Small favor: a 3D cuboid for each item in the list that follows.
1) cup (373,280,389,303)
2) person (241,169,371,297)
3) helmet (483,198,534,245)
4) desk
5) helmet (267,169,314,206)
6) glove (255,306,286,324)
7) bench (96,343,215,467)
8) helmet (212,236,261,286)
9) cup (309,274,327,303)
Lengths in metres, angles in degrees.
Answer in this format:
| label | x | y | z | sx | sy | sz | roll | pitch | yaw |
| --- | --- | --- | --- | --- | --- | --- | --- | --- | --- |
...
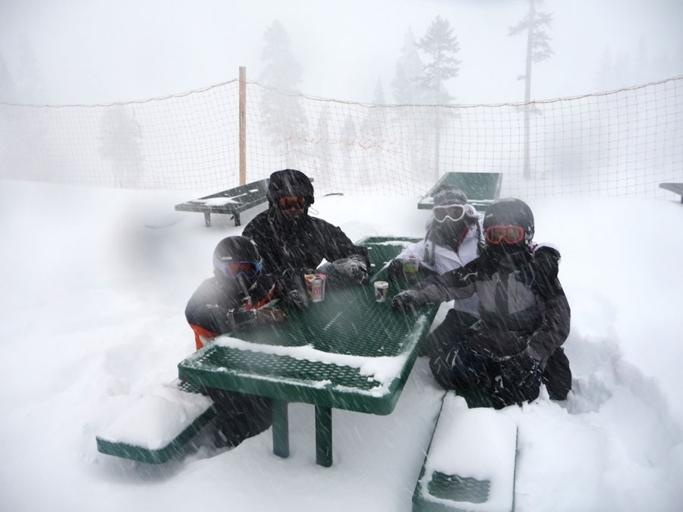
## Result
| label | x | y | z | sx | sy | sz | roll | pitch | yaw |
| --- | --- | --- | --- | --- | --- | --- | --- | --- | --- |
| cup | 0.359 | 0.311 | 4.785 | 0.145 | 0.171 | 0.154 | 3 | 19 | -1 |
| person | -0.336 | -0.259 | 5.307 | 1.345 | 1.290 | 1.240 | -6 | 5 | 11 |
| helmet | 1.498 | -0.249 | 4.840 | 0.446 | 0.557 | 0.571 | -4 | 6 | 27 |
| desk | -0.146 | 0.550 | 4.535 | 1.862 | 1.793 | 1.892 | 2 | 13 | 14 |
| helmet | -0.517 | -0.730 | 5.382 | 0.486 | 0.420 | 0.372 | -6 | 27 | -11 |
| glove | -0.573 | 0.482 | 4.349 | 0.141 | 0.039 | 0.140 | 10 | 14 | 35 |
| bench | -1.375 | 1.178 | 3.956 | 0.552 | 0.276 | 0.794 | 11 | 30 | 19 |
| helmet | -0.868 | 0.098 | 4.582 | 0.367 | 0.521 | 0.493 | -9 | 3 | -8 |
| cup | -0.206 | 0.286 | 4.823 | 0.179 | 0.277 | 0.216 | 1 | 3 | -10 |
